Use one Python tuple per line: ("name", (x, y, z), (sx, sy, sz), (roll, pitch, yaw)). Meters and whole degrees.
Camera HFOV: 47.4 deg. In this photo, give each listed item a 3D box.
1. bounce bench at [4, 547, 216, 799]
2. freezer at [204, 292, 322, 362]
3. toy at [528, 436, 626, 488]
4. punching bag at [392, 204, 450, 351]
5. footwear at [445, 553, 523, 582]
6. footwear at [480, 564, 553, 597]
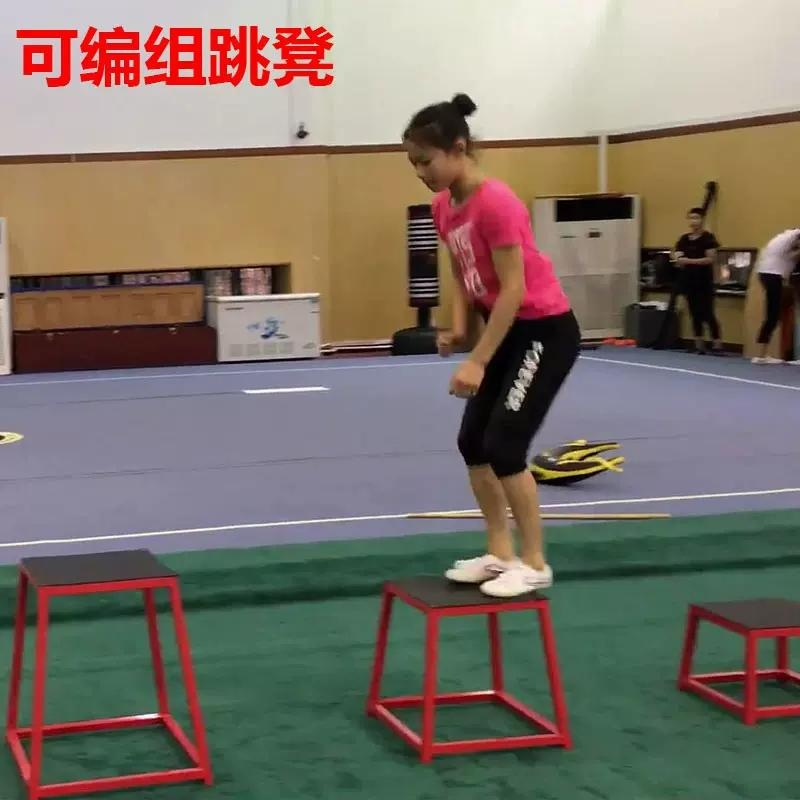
("bounce bench", (-0.545, 0.496, 1.803), (0.394, 0.469, 0.404), (-3, 5, -23))
("freezer", (-1.573, -0.847, 10.911), (1.245, 0.786, 0.265), (-2, 5, -17))
("toy", (0.965, 0.271, 5.102), (0.517, 0.260, 0.543), (-3, 12, -13))
("punching bag", (0.231, -1.493, 11.562), (0.557, 2.273, 0.556), (-7, 10, -18))
("footwear", (0.181, 0.387, 2.089), (0.110, 0.045, 0.069), (0, 3, -14))
("footwear", (0.254, 0.387, 1.975), (0.183, 0.073, 0.064), (-5, 5, -43))
